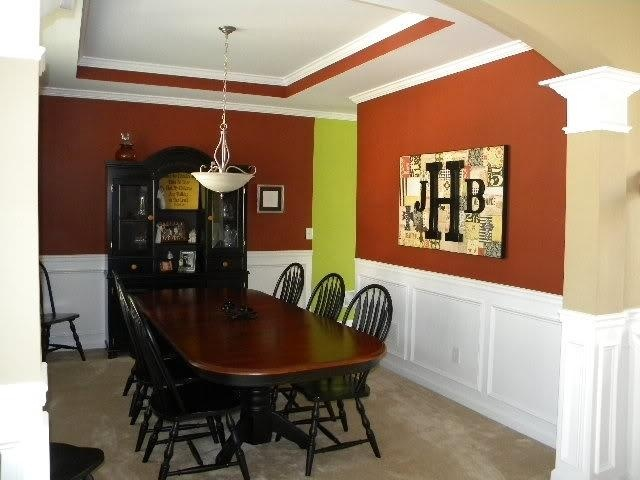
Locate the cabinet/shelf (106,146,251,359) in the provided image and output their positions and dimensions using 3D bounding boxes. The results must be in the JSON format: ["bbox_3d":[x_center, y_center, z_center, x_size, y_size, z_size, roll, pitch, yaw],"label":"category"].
[{"bbox_3d":[-1.614,0.195,5.774,1.491,2.247,0.554,0,1,-21],"label":"cabinet/shelf"}]

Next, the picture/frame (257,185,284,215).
[{"bbox_3d":[-0.665,-0.531,6.476,0.359,0.389,0.029,-1,3,-25],"label":"picture/frame"}]
